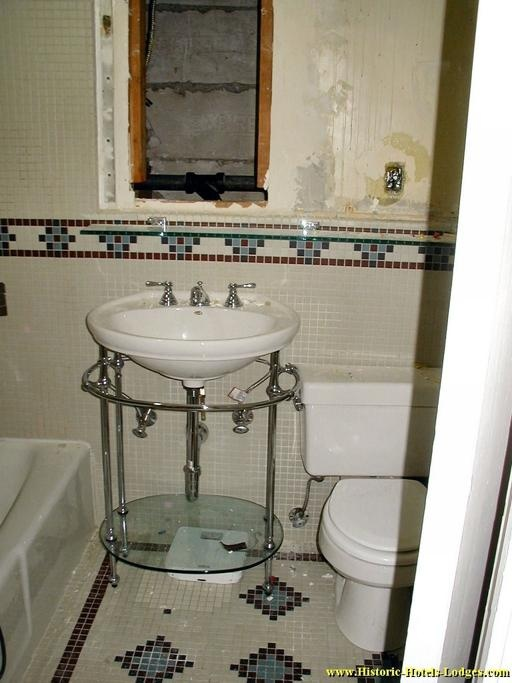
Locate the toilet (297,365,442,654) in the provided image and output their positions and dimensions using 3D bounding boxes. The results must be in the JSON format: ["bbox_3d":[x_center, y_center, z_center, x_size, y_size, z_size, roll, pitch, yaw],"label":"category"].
[{"bbox_3d":[0.320,0.425,1.733,0.397,0.751,0.512,0,-44,6],"label":"toilet"}]
